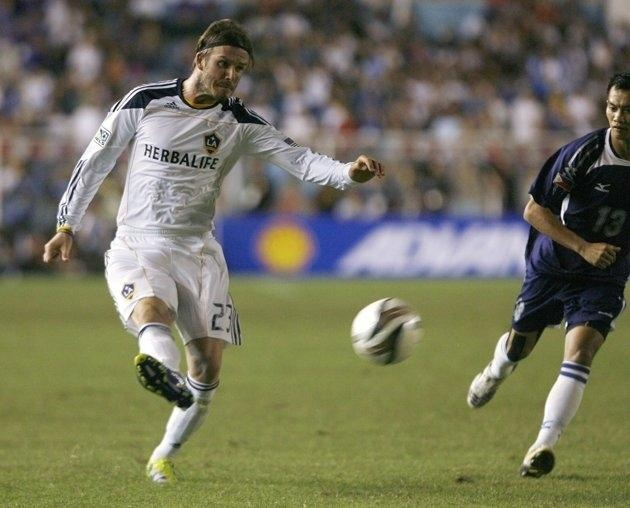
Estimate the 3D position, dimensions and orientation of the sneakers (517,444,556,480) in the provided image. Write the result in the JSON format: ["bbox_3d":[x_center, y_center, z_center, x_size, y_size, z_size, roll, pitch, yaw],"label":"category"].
[{"bbox_3d":[1.413,1.328,6.056,0.144,0.253,0.100,41,-15,27],"label":"sneakers"}]

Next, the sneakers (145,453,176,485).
[{"bbox_3d":[-1.020,1.398,6.267,0.164,0.166,0.130,5,17,-4],"label":"sneakers"}]

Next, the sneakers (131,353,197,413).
[{"bbox_3d":[-0.892,0.723,5.655,0.490,0.180,0.234,39,-1,2],"label":"sneakers"}]

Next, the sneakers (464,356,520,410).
[{"bbox_3d":[1.333,1.023,7.436,0.257,0.570,0.192,15,32,-46],"label":"sneakers"}]
